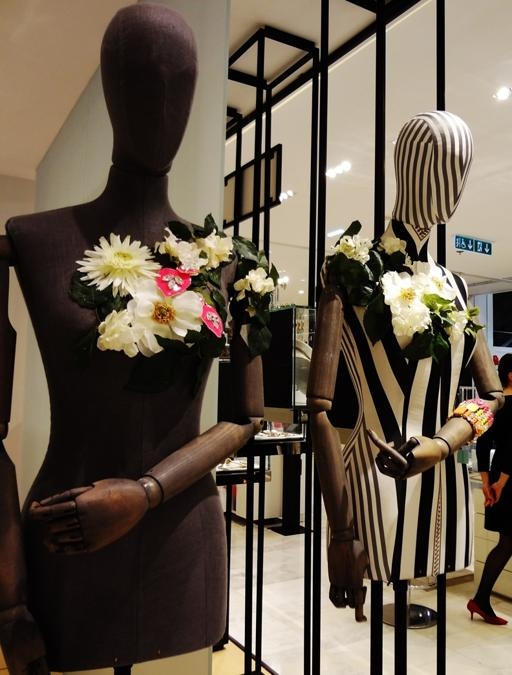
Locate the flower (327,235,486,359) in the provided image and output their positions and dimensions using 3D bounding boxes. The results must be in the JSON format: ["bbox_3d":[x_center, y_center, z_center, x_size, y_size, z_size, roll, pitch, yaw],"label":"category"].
[{"bbox_3d":[0.330,-0.093,1.358,0.363,0.286,0.234,0,1,1],"label":"flower"}]
